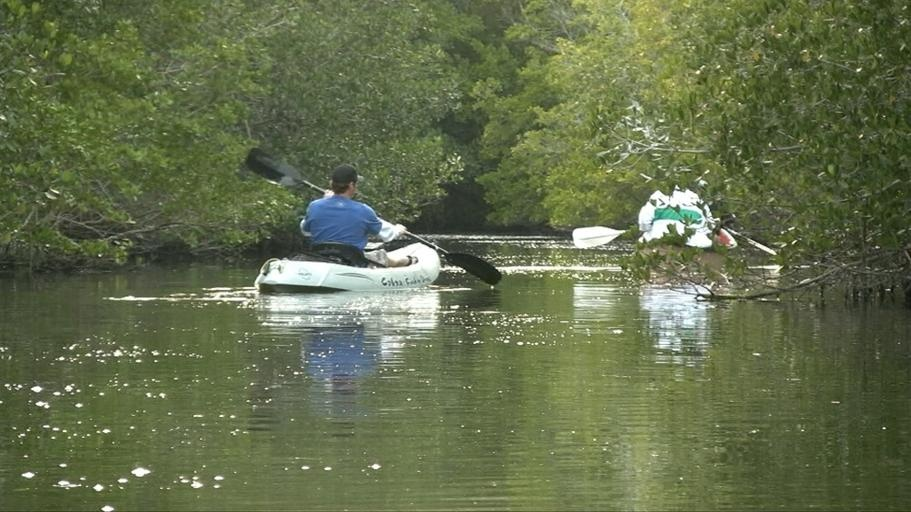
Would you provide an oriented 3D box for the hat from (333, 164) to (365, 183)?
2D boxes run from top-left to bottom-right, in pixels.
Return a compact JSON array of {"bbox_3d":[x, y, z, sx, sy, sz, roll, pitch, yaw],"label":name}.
[{"bbox_3d":[-2.175,-1.653,28.960,0.476,0.651,0.259,6,101,19],"label":"hat"}]
